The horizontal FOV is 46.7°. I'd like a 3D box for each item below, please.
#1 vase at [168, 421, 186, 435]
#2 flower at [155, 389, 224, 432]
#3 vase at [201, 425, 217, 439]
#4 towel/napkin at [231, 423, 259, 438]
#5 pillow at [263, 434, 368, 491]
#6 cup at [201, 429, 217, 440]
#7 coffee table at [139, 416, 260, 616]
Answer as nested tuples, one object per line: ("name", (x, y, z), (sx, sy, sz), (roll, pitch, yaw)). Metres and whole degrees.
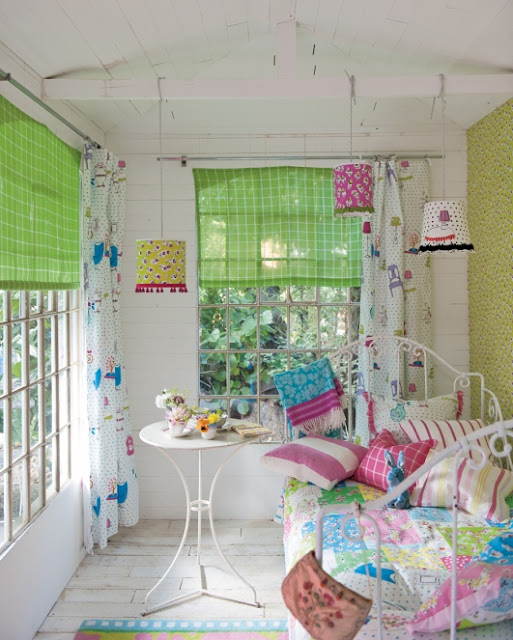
("vase", (-0.390, 0.520, 2.900), (0.067, 0.041, 0.063), (-1, 3, -20))
("flower", (-0.341, 0.464, 3.001), (0.259, 0.164, 0.257), (5, 0, 4))
("vase", (-0.230, 0.541, 2.866), (0.061, 0.042, 0.060), (-3, -4, 33))
("towel/napkin", (-0.058, 0.553, 2.966), (0.133, 0.027, 0.181), (0, 5, -4))
("pillow", (0.260, 0.678, 2.902), (0.275, 0.087, 0.310), (0, 2, 32))
("cup", (-0.228, 0.547, 2.849), (0.056, 0.037, 0.053), (0, -6, 0))
("coffee table", (-0.277, 1.011, 3.051), (0.735, 0.754, 0.670), (-1, -8, 7))
